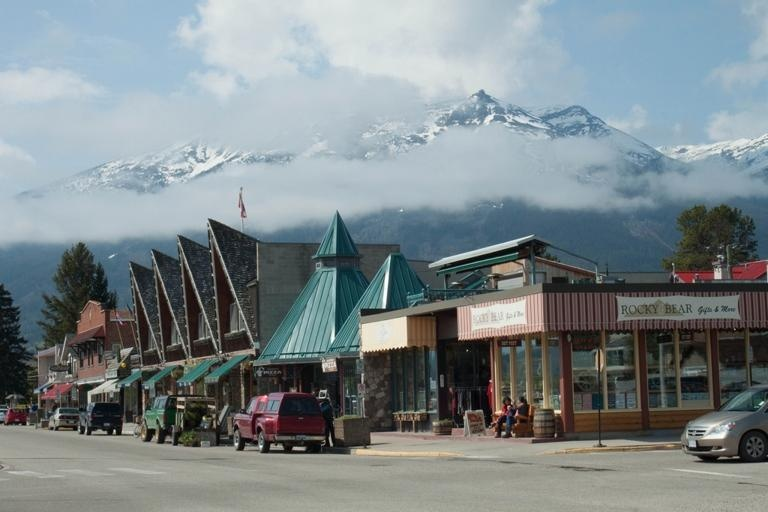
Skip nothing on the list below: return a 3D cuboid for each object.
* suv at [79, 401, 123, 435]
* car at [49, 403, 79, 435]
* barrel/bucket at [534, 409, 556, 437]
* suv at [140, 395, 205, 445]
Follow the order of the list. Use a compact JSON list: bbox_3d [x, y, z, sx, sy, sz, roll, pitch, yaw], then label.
[{"bbox_3d":[-20.197,11.300,93.383,1.910,1.475,3.387,1,0,-17],"label":"suv"},{"bbox_3d":[-25.552,12.977,105.108,2.159,1.536,2.332,-4,-1,-20],"label":"car"},{"bbox_3d":[8.225,8.589,67.894,1.127,1.468,0.507,-5,-1,5],"label":"barrel/bucket"},{"bbox_3d":[-12.616,9.792,79.100,1.843,2.532,7.056,-4,-1,-29],"label":"suv"}]
